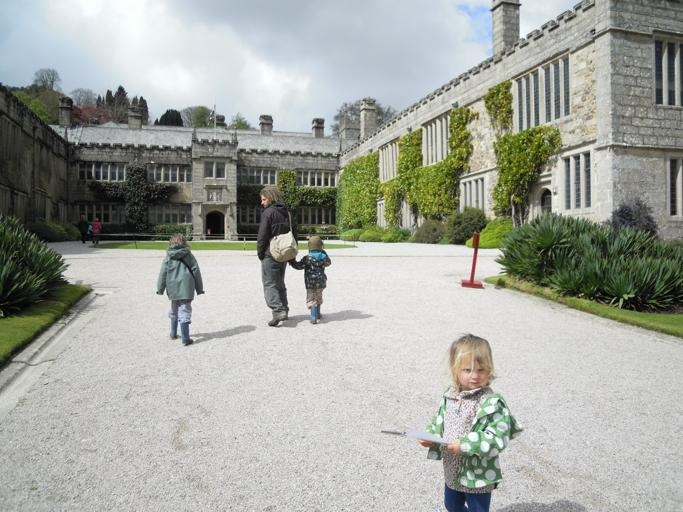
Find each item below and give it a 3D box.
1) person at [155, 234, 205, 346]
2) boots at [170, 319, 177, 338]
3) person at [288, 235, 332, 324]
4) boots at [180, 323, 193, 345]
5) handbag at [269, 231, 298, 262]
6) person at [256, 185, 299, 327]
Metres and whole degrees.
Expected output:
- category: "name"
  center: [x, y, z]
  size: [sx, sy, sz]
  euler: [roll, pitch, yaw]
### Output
- category: "person"
  center: [-2.032, 0.408, 7.187]
  size: [0.515, 1.318, 0.805]
  euler: [-4, 8, -31]
- category: "boots"
  center: [-2.168, 0.951, 7.195]
  size: [0.102, 0.250, 0.234]
  euler: [1, 14, -12]
- category: "person"
  center: [-0.498, 0.317, 8.321]
  size: [0.599, 1.256, 0.697]
  euler: [4, 10, 23]
- category: "boots"
  center: [-1.916, 0.959, 6.929]
  size: [0.125, 0.283, 0.234]
  euler: [1, 7, 4]
- category: "handbag"
  center: [-0.845, -0.127, 7.877]
  size: [0.292, 0.330, 0.177]
  euler: [-11, -21, -24]
- category: "person"
  center: [-1.015, 0.019, 8.224]
  size: [0.605, 1.998, 0.676]
  euler: [1, 1, 24]
